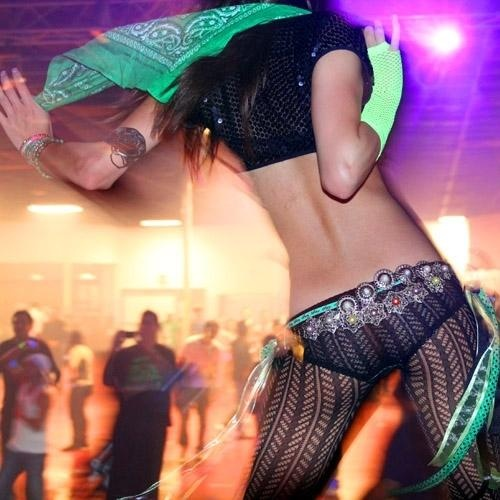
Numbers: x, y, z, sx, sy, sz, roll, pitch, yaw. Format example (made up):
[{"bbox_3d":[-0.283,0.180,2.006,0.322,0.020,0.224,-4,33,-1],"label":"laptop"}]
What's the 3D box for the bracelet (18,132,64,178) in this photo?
[{"bbox_3d":[-0.606,-0.282,1.573,0.110,0.070,0.129,11,5,-4],"label":"bracelet"}]
